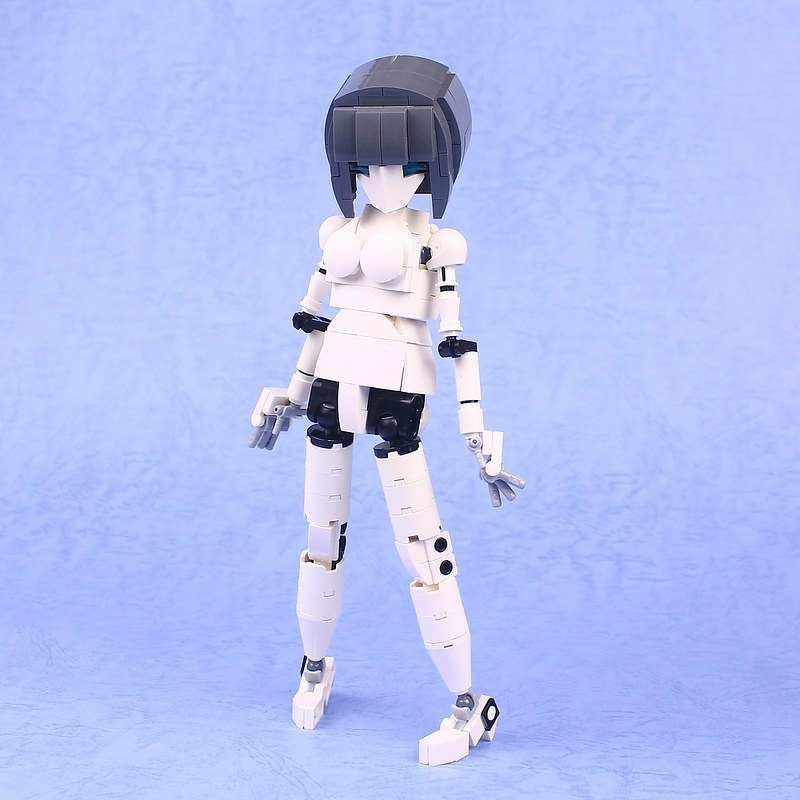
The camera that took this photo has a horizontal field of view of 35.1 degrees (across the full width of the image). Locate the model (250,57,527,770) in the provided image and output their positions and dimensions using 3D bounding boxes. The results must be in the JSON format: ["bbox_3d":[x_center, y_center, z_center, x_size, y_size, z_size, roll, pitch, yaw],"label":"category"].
[{"bbox_3d":[-0.052,0.043,4.428,0.966,2.373,1.221,5,-21,2],"label":"model"}]
